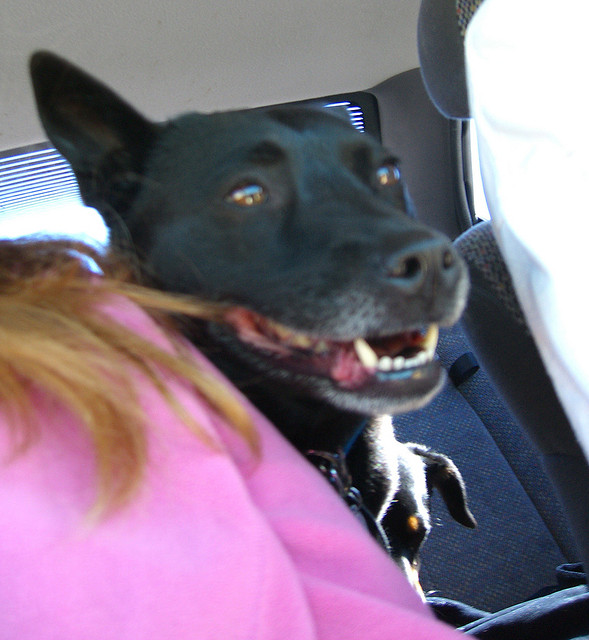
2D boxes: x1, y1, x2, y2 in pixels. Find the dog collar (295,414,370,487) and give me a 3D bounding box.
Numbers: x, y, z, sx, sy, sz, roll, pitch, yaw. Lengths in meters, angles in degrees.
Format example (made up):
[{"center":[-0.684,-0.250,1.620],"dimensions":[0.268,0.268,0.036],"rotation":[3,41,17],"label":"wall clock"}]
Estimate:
[{"center":[0.054,0.177,0.934],"dimensions":[0.066,0.144,0.094],"rotation":[10,62,17],"label":"dog collar"}]
